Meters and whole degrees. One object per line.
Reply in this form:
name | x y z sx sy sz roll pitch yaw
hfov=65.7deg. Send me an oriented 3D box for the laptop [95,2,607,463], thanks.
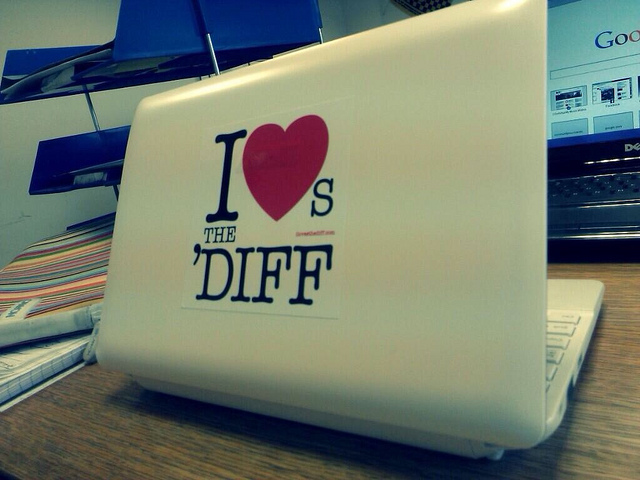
laptop | 0.071 0.040 0.583 0.441 0.343 0.397 2 10 30
